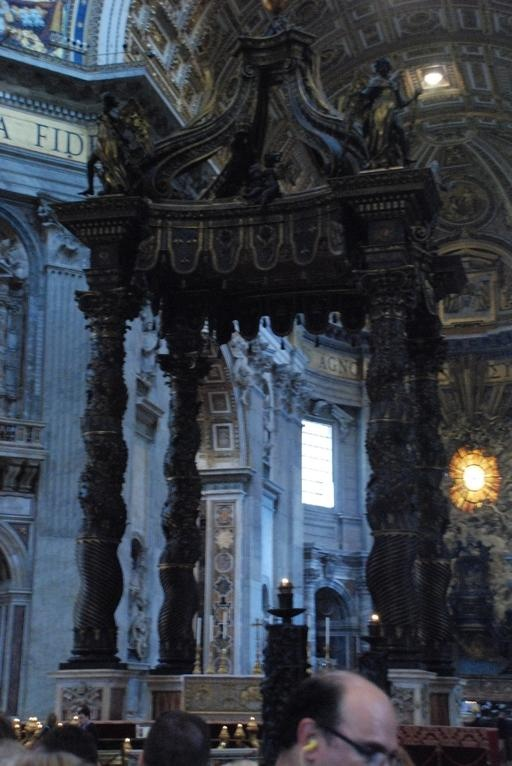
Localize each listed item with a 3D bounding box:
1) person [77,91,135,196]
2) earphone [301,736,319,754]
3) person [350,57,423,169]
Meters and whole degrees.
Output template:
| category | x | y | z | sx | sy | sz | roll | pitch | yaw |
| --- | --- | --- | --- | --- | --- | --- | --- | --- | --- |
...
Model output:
| category | x | y | z | sx | sy | sz | roll | pitch | yaw |
| --- | --- | --- | --- | --- | --- | --- | --- | --- | --- |
| person | -1.571 | -2.613 | 16.832 | 0.508 | 1.278 | 0.792 | 6 | -9 | -7 |
| earphone | 0.281 | 1.898 | 8.201 | 0.056 | 0.036 | 0.101 | -5 | 12 | 41 |
| person | 1.319 | -2.828 | 16.252 | 0.584 | 1.348 | 0.653 | 8 | -10 | -18 |
